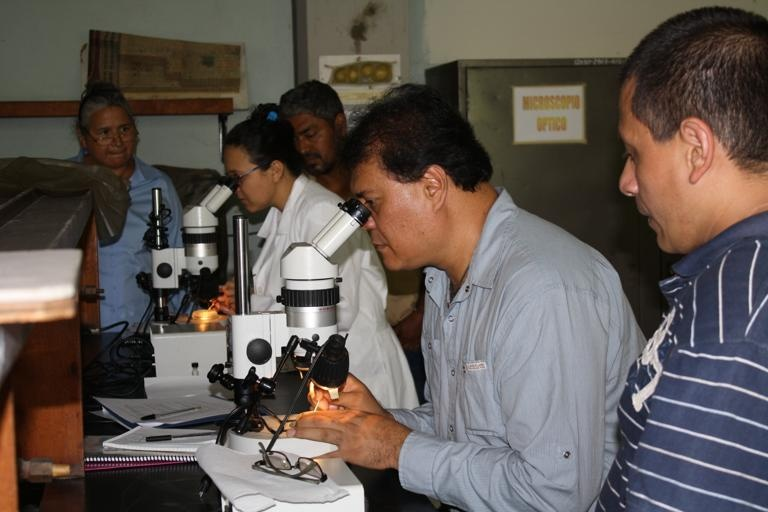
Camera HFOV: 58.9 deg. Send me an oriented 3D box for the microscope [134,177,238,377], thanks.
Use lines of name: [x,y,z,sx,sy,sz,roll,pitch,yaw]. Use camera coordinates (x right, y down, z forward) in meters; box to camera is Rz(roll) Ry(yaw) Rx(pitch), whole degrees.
microscope: [-0.847,0.103,2.949,0.342,0.837,0.336,-1,16,-11]

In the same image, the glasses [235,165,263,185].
glasses: [-0.584,-0.352,2.910,0.095,0.029,0.092,-44,18,-13]

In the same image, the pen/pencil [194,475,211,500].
pen/pencil: [-0.462,0.596,1.738,0.026,0.051,0.013,36,-31,-15]

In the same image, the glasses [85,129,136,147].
glasses: [-1.470,-0.655,3.715,0.273,0.108,0.145,-2,4,-34]

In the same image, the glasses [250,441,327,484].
glasses: [-0.225,0.510,1.667,0.182,0.060,0.055,3,3,22]

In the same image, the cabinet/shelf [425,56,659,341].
cabinet/shelf: [0.932,-0.448,4.323,1.268,1.444,0.717,-4,15,-20]
